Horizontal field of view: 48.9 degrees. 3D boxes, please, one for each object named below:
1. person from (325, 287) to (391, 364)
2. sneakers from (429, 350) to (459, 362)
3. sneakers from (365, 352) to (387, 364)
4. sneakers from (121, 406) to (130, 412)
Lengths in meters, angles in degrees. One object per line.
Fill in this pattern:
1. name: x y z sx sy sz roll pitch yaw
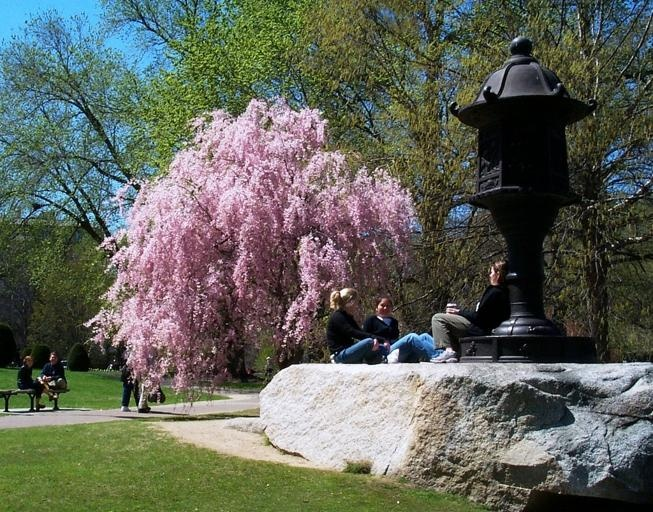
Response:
1. person: 0.469 1.240 11.237 0.869 1.370 1.258 -2 -7 -2
2. sneakers: 1.696 1.450 10.274 0.366 0.198 0.157 -8 -15 25
3. sneakers: 0.763 1.550 10.872 0.170 0.117 0.241 -3 -8 41
4. sneakers: -5.072 3.873 18.177 0.105 0.159 0.317 5 -2 20
